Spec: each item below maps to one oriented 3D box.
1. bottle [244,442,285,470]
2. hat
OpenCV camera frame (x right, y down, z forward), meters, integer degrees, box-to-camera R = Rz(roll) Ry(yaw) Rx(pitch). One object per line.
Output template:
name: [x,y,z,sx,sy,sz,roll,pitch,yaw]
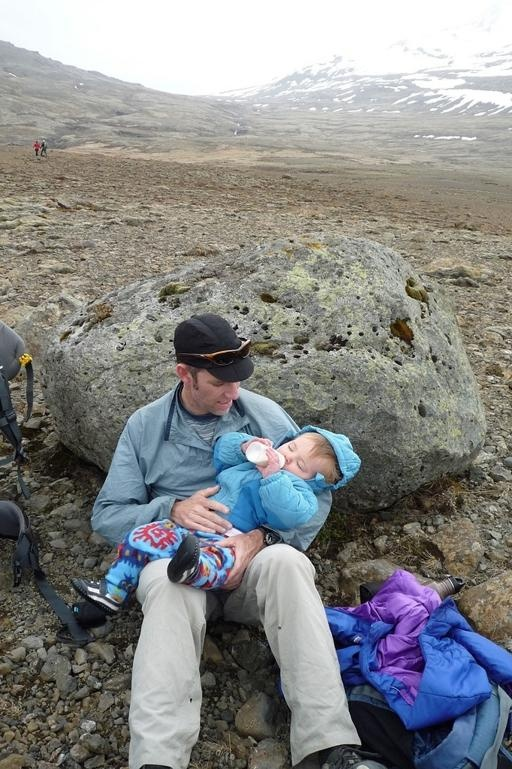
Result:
bottle: [0.031,0.345,2.694,0.108,0.058,0.105,32,10,-7]
hat: [-0.204,-0.182,2.742,0.386,0.199,0.271,28,43,23]
